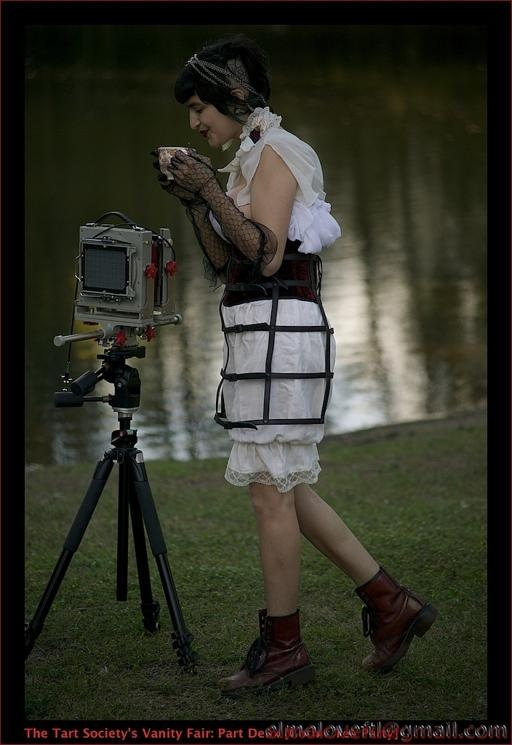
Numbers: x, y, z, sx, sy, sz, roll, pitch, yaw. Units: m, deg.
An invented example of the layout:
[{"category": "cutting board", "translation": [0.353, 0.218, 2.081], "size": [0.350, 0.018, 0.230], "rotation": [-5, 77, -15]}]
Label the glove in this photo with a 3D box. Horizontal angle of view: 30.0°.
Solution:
[{"category": "glove", "translation": [-0.116, -0.417, 2.612], "size": [0.242, 0.372, 0.321], "rotation": [-6, 15, -16]}]

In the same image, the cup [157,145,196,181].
[{"category": "cup", "translation": [-0.223, -0.581, 2.635], "size": [0.109, 0.085, 0.080], "rotation": [-3, 11, -26]}]

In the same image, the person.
[{"category": "person", "translation": [0.090, -0.022, 2.767], "size": [0.627, 1.813, 0.580], "rotation": [-7, 15, -17]}]

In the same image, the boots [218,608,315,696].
[{"category": "boots", "translation": [0.031, 0.790, 2.685], "size": [0.360, 0.238, 0.138], "rotation": [-2, -3, -9]}]
